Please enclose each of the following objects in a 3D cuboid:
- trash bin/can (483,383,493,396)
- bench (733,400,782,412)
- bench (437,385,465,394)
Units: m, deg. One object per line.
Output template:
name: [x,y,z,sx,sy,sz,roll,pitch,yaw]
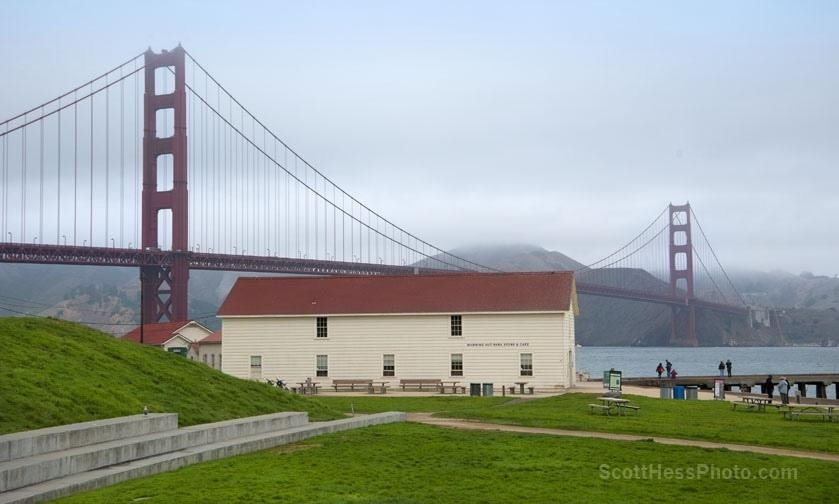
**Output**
trash bin/can: [5.035,9.916,94.300,0.911,1.022,0.797,0,-10,1]
bench: [23.060,10.461,88.537,1.569,0.341,1.615,0,0,-38]
bench: [2.491,10.100,96.748,1.992,0.710,2.719,2,-1,11]
